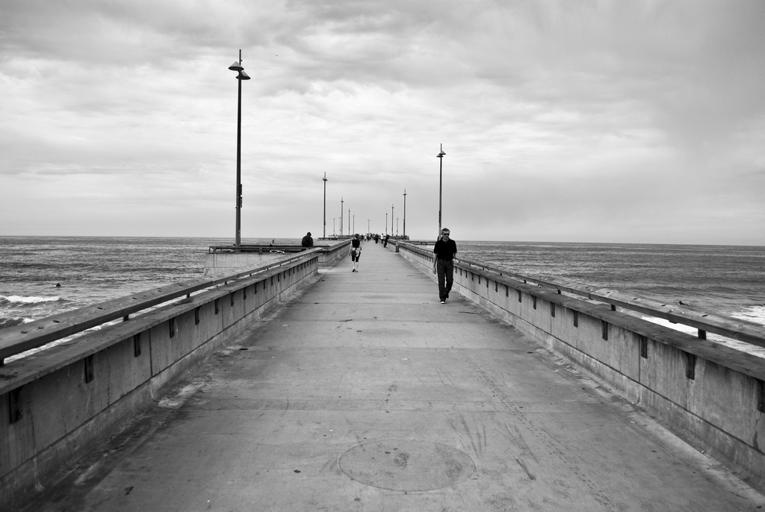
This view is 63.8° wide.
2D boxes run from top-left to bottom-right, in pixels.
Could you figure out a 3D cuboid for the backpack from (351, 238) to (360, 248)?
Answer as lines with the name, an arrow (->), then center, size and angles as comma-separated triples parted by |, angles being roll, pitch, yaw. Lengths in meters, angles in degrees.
backpack -> -1.348, -0.693, 30.499 | 0.553, 0.536, 0.315 | 3, 16, 7
